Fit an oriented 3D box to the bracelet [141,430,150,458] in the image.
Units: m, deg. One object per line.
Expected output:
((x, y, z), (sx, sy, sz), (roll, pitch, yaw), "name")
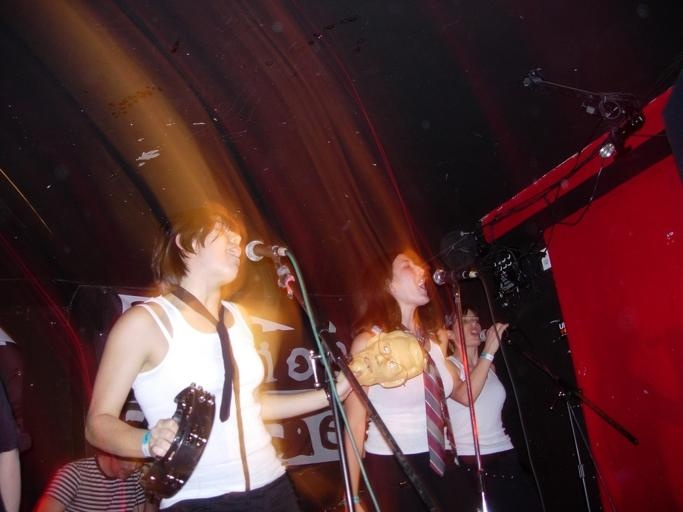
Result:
((-0.954, 0.914, 2.248), (0.037, 0.121, 0.080), (-4, -5, -8), "bracelet")

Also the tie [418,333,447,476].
((0.720, 1.109, 3.520), (0.155, 1.014, 0.258), (-4, -22, 11), "tie")
